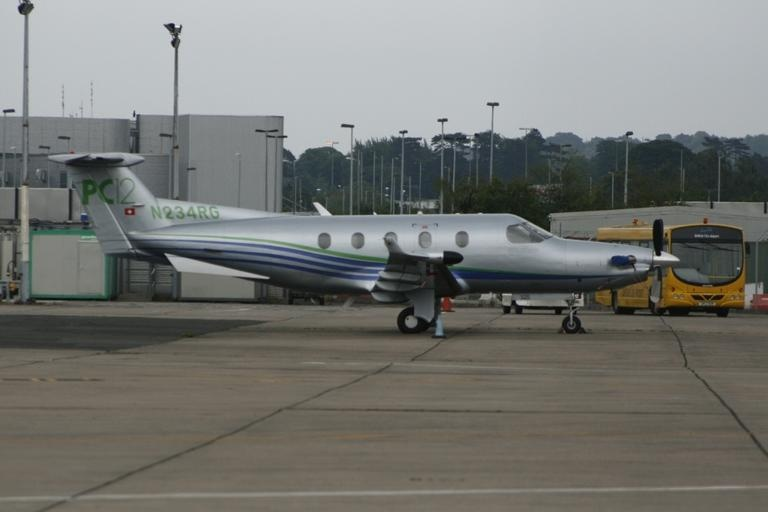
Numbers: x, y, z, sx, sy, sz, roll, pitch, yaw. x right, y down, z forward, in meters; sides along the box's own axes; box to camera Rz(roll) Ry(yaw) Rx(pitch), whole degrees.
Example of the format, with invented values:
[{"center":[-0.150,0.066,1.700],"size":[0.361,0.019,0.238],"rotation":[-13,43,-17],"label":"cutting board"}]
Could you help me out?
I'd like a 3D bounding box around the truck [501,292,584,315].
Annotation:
[{"center":[5.801,1.936,49.666],"size":[3.015,0.666,1.487],"rotation":[-1,1,8],"label":"truck"}]
